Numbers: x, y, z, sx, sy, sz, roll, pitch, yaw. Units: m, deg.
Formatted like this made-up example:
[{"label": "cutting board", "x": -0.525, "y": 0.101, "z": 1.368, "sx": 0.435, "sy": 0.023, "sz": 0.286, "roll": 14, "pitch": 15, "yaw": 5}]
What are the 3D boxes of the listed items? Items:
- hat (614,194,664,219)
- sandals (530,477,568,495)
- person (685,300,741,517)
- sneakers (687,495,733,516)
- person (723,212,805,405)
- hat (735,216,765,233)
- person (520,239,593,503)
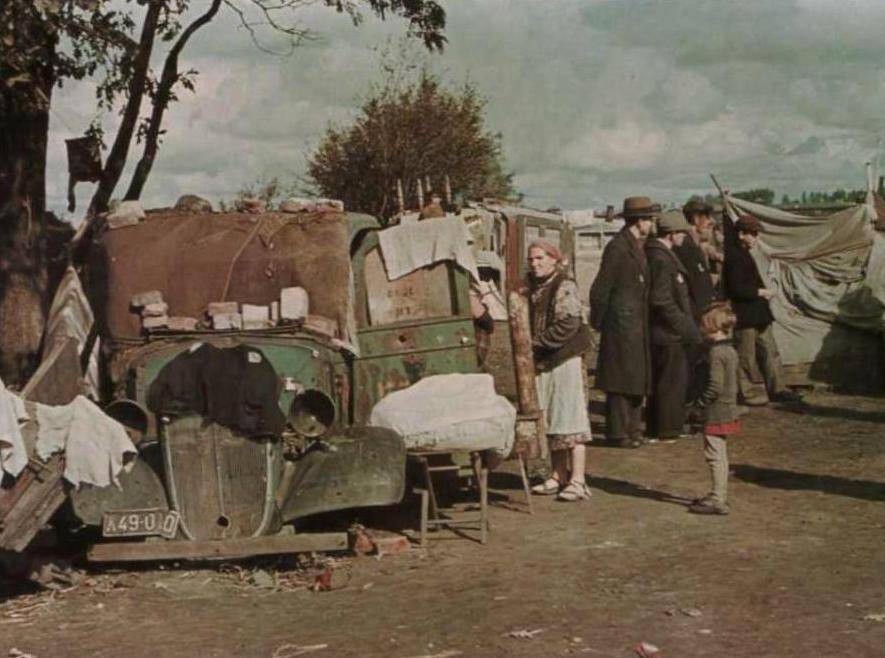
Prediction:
[{"label": "hat", "x": 1.974, "y": -1.213, "z": 12.914, "sx": 0.336, "sy": 0.202, "sz": 0.317, "roll": -1, "pitch": 3, "yaw": 5}, {"label": "sandals", "x": 1.010, "y": 1.504, "z": 12.411, "sx": 0.307, "sy": 0.115, "sz": 0.150, "roll": 0, "pitch": -2, "yaw": -18}, {"label": "person", "x": 2.446, "y": 0.728, "z": 11.631, "sx": 0.440, "sy": 1.823, "sz": 0.482, "roll": -1, "pitch": 4, "yaw": 11}, {"label": "sneakers", "x": 2.413, "y": 1.587, "z": 11.637, "sx": 0.391, "sy": 0.149, "sz": 0.144, "roll": 1, "pitch": 1, "yaw": 12}, {"label": "person", "x": 4.164, "y": -0.192, "z": 16.713, "sx": 1.157, "sy": 3.160, "sz": 1.150, "roll": -7, "pitch": 35, "yaw": 16}, {"label": "hat", "x": 3.687, "y": -1.268, "z": 15.509, "sx": 0.274, "sy": 0.132, "sz": 0.192, "roll": -1, "pitch": 4, "yaw": 12}, {"label": "person", "x": 1.115, "y": 0.360, "z": 12.295, "sx": 0.573, "sy": 2.436, "sz": 0.735, "roll": -1, "pitch": 4, "yaw": 4}]
